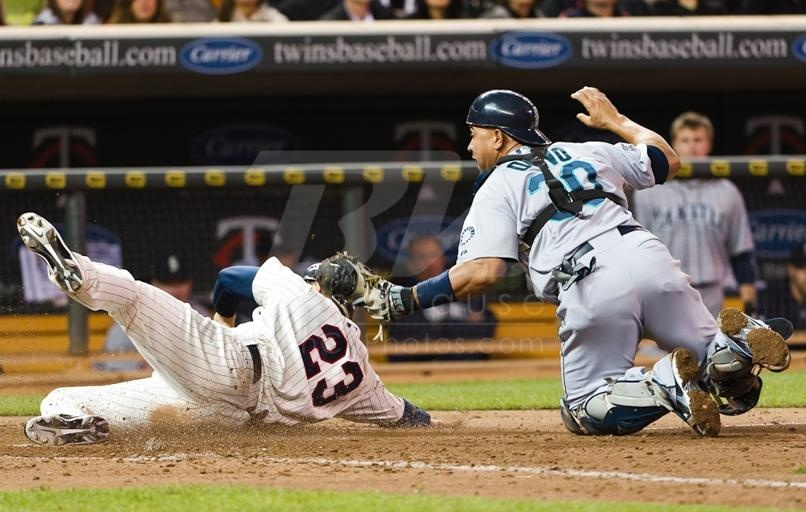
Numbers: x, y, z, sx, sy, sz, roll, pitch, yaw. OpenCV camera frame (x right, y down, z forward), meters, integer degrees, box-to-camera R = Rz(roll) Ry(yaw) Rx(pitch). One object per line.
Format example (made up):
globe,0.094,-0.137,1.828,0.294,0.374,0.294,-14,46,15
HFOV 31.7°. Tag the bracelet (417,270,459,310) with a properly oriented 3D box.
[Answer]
bracelet,0.306,0.270,10.764,0.337,0.232,0.133,-16,-24,11

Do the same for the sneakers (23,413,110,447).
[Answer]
sneakers,-2.520,1.288,10.687,0.658,0.216,0.247,0,8,-13

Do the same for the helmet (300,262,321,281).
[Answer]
helmet,-0.693,0.100,10.973,0.130,0.116,0.155,28,-17,-10
